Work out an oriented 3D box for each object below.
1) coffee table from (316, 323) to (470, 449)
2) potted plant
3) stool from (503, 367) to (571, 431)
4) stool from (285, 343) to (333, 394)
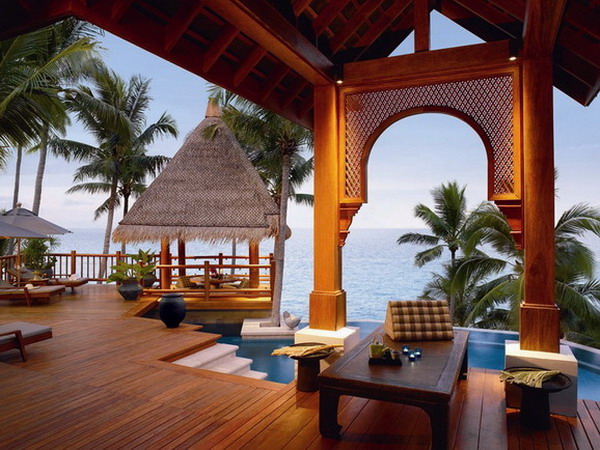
[{"bbox_3d":[0.965,1.652,4.641,1.254,0.690,1.444,1,1,26],"label":"coffee table"},{"bbox_3d":[-4.196,1.268,11.480,1.293,1.164,1.413,-1,-8,2],"label":"potted plant"},{"bbox_3d":[2.387,1.756,4.594,0.576,0.409,0.569,3,-3,-2],"label":"stool"},{"bbox_3d":[0.106,1.699,5.331,0.536,0.461,0.599,-3,-14,18],"label":"stool"}]
